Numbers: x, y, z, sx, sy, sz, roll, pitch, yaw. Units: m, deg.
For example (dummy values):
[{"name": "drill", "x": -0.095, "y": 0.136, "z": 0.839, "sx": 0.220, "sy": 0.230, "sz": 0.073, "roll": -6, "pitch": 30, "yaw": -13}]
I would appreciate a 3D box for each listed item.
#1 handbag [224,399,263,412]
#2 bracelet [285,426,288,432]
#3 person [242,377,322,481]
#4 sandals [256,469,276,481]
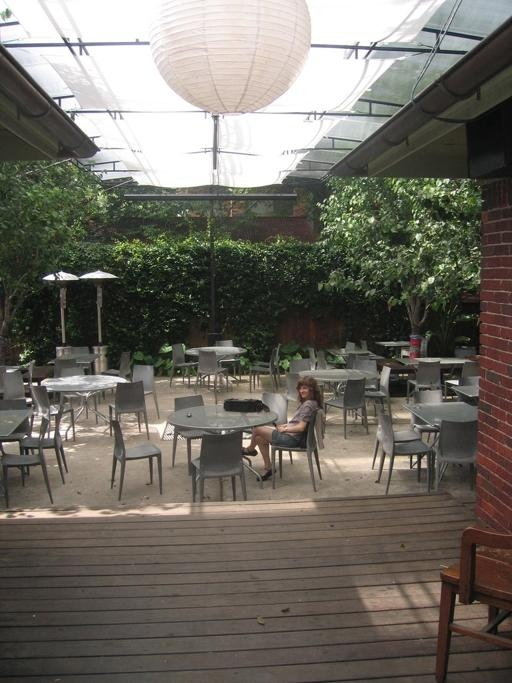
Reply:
[{"name": "handbag", "x": -0.139, "y": 0.672, "z": 5.822, "sx": 0.320, "sy": 0.105, "sz": 0.166, "roll": 1, "pitch": 1, "yaw": 7}, {"name": "bracelet", "x": 0.312, "y": 0.901, "z": 5.699, "sx": 0.036, "sy": 0.033, "sz": 0.031, "roll": 4, "pitch": -6, "yaw": 10}, {"name": "person", "x": 0.297, "y": 0.951, "z": 5.930, "sx": 0.814, "sy": 1.135, "sz": 0.497, "roll": 0, "pitch": -1, "yaw": 22}, {"name": "sandals", "x": 0.094, "y": 1.462, "z": 5.998, "sx": 0.099, "sy": 0.109, "sz": 0.287, "roll": -9, "pitch": 3, "yaw": -16}]
